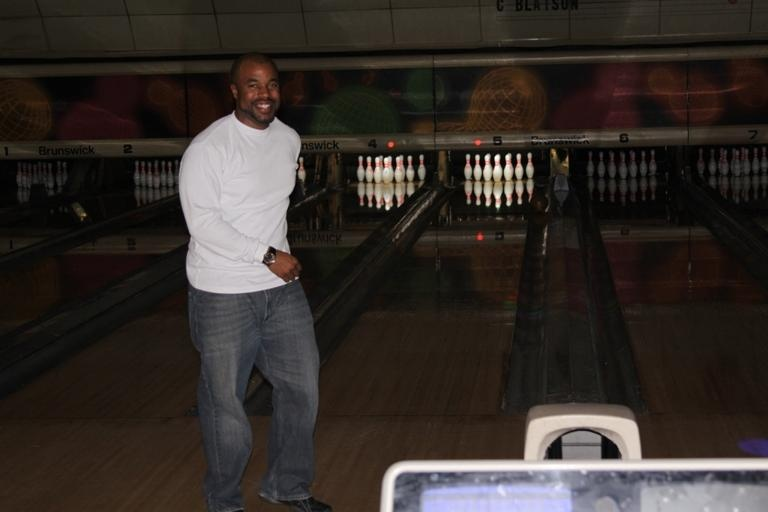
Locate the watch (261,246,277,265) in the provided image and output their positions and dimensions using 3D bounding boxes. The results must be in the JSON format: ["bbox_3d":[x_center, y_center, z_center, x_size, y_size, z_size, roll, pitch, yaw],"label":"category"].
[{"bbox_3d":[-0.359,0.001,1.818,0.047,0.053,0.017,-2,-3,-29],"label":"watch"}]
